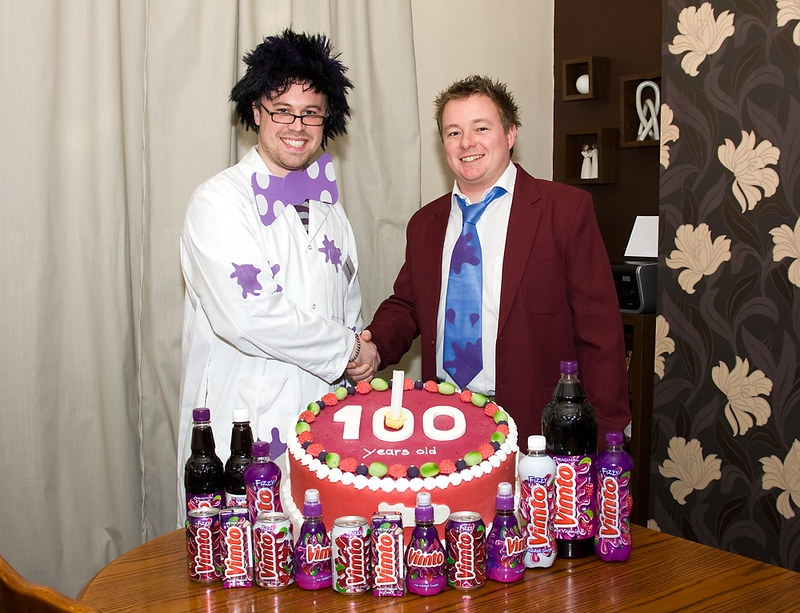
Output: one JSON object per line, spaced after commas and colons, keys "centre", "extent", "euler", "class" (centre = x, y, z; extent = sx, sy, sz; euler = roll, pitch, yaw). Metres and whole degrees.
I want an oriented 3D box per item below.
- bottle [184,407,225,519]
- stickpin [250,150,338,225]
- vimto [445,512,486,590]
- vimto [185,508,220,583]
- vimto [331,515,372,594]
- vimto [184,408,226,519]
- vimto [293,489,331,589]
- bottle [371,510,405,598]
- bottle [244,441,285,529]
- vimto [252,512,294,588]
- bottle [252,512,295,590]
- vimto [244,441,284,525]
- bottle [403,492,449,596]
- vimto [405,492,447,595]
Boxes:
{"centre": [-0.445, 0.339, 1.580], "extent": [0.085, 0.230, 0.177], "euler": [-3, 0, -17], "class": "bottle"}
{"centre": [-0.371, -0.401, 2.342], "extent": [0.214, 0.142, 0.009], "euler": [-23, 12, -24], "class": "stickpin"}
{"centre": [0.136, 0.503, 1.479], "extent": [0.080, 0.152, 0.083], "euler": [-10, 13, -34], "class": "vimto"}
{"centre": [-0.421, 0.511, 1.510], "extent": [0.069, 0.143, 0.074], "euler": [-2, 1, -15], "class": "vimto"}
{"centre": [-0.101, 0.517, 1.441], "extent": [0.082, 0.159, 0.042], "euler": [-4, 0, -9], "class": "vimto"}
{"centre": [-0.445, 0.339, 1.580], "extent": [0.085, 0.230, 0.177], "euler": [-3, 0, -17], "class": "vimto"}
{"centre": [-0.184, 0.490, 1.476], "extent": [0.095, 0.198, 0.102], "euler": [1, 4, 30], "class": "vimto"}
{"centre": [-0.026, 0.511, 1.442], "extent": [0.070, 0.173, 0.047], "euler": [-3, 0, -7], "class": "bottle"}
{"centre": [-0.307, 0.391, 1.553], "extent": [0.069, 0.195, 0.075], "euler": [1, 17, 0], "class": "bottle"}
{"centre": [-0.268, 0.516, 1.496], "extent": [0.081, 0.157, 0.083], "euler": [-7, 12, -36], "class": "vimto"}
{"centre": [-0.268, 0.513, 1.494], "extent": [0.075, 0.152, 0.082], "euler": [1, 9, 0], "class": "bottle"}
{"centre": [-0.306, 0.396, 1.557], "extent": [0.073, 0.201, 0.073], "euler": [-11, 19, -37], "class": "vimto"}
{"centre": [0.051, 0.487, 1.453], "extent": [0.073, 0.203, 0.079], "euler": [-1, 9, 0], "class": "bottle"}
{"centre": [0.055, 0.485, 1.443], "extent": [0.081, 0.215, 0.086], "euler": [-3, 0, -25], "class": "vimto"}
